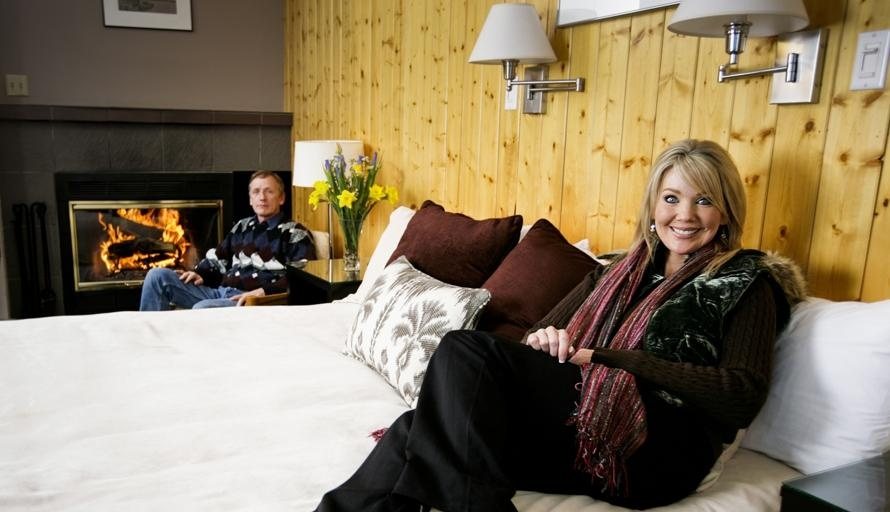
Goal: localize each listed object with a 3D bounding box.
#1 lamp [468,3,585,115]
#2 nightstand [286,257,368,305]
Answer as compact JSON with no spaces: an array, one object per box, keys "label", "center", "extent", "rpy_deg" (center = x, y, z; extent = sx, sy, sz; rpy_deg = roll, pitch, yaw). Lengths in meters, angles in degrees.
[{"label":"lamp","center":[0.375,-1.039,3.123],"extent":[0.502,0.549,0.620],"rpy_deg":[-16,23,-37]},{"label":"nightstand","center":[-0.792,0.155,3.874],"extent":[0.340,0.407,0.427],"rpy_deg":[-10,21,-27]}]
